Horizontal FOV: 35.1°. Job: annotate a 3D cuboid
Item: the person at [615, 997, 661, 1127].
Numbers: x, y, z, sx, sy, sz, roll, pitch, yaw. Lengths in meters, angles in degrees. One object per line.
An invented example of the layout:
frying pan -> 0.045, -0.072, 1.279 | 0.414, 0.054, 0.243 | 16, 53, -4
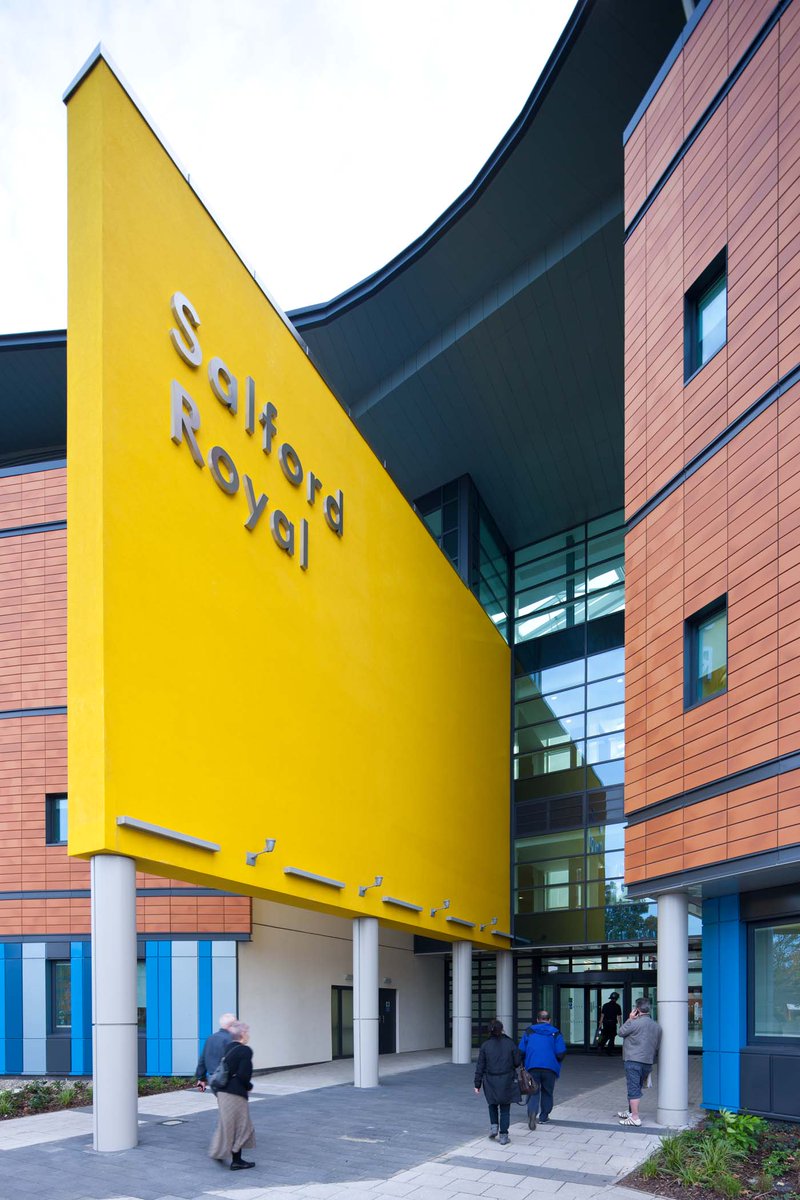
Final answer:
person -> 2.877, 5.557, 15.385 | 0.546, 1.368, 1.725 | -3, -15, 9

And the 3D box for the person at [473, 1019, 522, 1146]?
person -> 0.999, 5.073, 13.213 | 0.435, 1.303, 0.482 | -1, -43, 3

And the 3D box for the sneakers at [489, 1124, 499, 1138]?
sneakers -> 0.993, 5.697, 13.594 | 0.054, 0.139, 0.179 | 5, -13, -15

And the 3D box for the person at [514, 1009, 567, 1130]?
person -> 1.621, 5.417, 14.688 | 0.491, 1.273, 1.858 | -2, -16, 5
